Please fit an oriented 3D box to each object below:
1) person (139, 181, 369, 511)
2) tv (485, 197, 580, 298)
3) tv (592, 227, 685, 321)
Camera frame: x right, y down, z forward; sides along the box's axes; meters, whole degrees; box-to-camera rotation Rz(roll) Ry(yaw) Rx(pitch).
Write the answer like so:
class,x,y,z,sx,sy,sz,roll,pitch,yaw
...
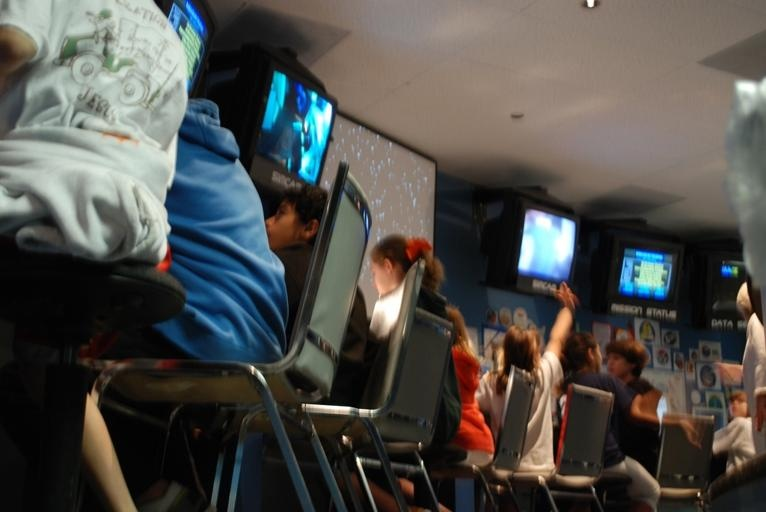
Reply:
class,x,y,z,sx,sy,sz,roll,pitch,yaw
person,-0.271,0.327,3.072,0.867,1.508,0.852,12,-38,20
tv,1.237,-0.085,5.589,0.692,0.741,0.379,11,-6,-34
tv,2.420,0.167,6.316,0.646,0.685,0.378,11,-13,-7
